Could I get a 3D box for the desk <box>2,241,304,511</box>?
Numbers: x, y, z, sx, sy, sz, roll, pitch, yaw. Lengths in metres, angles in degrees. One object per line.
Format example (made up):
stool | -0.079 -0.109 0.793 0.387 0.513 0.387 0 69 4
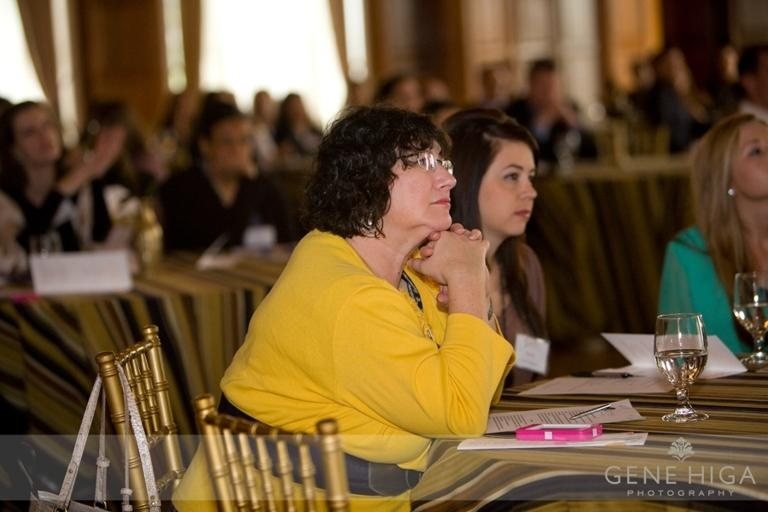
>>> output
desk | -0.673 0.460 2.616 0.549 0.999 0.570 -5 -12 -36
